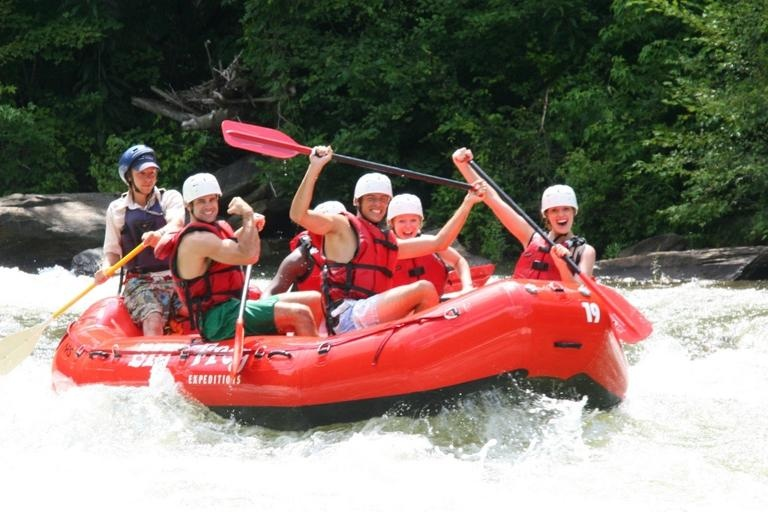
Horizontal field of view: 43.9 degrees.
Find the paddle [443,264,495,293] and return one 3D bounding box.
[{"bbox_3d":[1.409,0.267,14.267,0.199,0.305,1.160,-18,3,38],"label":"paddle"}]

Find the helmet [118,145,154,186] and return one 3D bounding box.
[{"bbox_3d":[-3.209,-1.294,12.629,0.475,0.353,0.682,-10,1,-24],"label":"helmet"}]

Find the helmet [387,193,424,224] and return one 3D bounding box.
[{"bbox_3d":[0.284,-0.662,12.771,0.306,0.342,0.404,-1,10,-3],"label":"helmet"}]

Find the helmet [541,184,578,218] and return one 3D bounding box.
[{"bbox_3d":[2.309,-0.778,12.395,0.441,0.337,0.641,-9,0,16],"label":"helmet"}]
